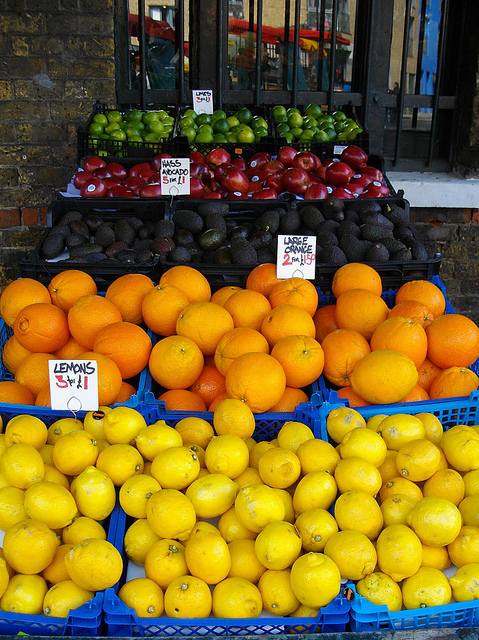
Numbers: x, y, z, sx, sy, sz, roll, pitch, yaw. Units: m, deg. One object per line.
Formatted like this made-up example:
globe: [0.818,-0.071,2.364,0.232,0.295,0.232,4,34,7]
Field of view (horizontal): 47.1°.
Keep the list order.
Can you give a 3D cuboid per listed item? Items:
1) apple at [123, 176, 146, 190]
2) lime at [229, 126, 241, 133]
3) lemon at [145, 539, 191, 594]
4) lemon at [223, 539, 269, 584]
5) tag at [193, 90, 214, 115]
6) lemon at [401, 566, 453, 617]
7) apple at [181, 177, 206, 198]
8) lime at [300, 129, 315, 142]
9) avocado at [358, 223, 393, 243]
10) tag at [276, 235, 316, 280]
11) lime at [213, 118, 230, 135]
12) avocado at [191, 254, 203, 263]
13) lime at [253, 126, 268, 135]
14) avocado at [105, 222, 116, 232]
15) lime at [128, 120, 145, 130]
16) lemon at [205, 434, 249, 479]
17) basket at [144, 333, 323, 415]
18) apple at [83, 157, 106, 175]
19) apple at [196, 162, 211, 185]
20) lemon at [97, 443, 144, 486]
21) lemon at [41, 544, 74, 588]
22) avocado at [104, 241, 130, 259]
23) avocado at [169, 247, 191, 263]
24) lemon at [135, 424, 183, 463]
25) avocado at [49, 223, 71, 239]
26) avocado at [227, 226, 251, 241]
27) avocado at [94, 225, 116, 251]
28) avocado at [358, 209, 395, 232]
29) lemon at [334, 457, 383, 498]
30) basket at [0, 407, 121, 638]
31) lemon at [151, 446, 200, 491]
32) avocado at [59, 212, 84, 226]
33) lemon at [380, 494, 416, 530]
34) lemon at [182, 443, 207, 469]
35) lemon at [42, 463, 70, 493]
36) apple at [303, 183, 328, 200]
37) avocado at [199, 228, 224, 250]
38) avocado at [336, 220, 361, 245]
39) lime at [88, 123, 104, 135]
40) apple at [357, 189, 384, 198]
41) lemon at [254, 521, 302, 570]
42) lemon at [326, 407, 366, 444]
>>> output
apple: [-0.528,-0.693,2.753,0.089,0.045,0.093,28,44,32]
lime: [-0.034,-1.174,3.381,0.063,0.019,0.072,-2,39,10]
lemon: [-0.120,0.398,0.903,0.080,0.083,0.074,-1,-7,-3]
lemon: [0.009,0.406,0.926,0.070,0.063,0.074,1,56,-4]
tag: [-0.243,-1.452,3.652,0.127,0.161,0.185,-1,20,-4]
lemon: [0.300,0.432,0.892,0.067,0.054,0.070,9,8,9]
apple: [-0.220,-0.627,2.620,0.138,0.094,0.107,2,7,-8]
lime: [0.410,-1.105,3.345,0.080,0.084,0.074,-4,-23,12]
avocado: [0.517,-0.334,2.121,0.133,0.057,0.063,0,20,-6]
tag: [0.188,-0.208,1.810,0.170,0.149,0.012,-4,6,-32]
lime: [-0.111,-1.187,3.376,0.101,0.105,0.094,7,11,-14]
avocado: [-0.154,-0.236,2.060,0.042,0.020,0.039,-9,20,-10]
lime: [0.133,-1.171,3.367,0.075,0.065,0.082,3,29,4]
avocado: [-0.538,-0.389,2.296,0.042,0.024,0.046,3,10,-2]
lime: [-0.643,-1.194,3.360,0.071,0.048,0.121,7,20,18]
lemon: [-0.030,0.274,1.103,0.093,0.097,0.090,-10,-17,32]
basket: [-0.022,0.165,1.542,0.471,0.165,0.493,0,19,-3]
apple: [-0.750,-0.806,2.846,0.132,0.096,0.097,-5,42,-10]
apple: [-0.173,-0.757,2.833,0.105,0.109,0.101,-2,7,1]
lemon: [-0.236,0.284,1.091,0.108,0.079,0.081,0,-14,-5]
lemon: [-0.319,0.423,0.948,0.061,0.063,0.055,-6,-29,2]
avocado: [-0.468,-0.270,2.093,0.063,0.056,0.106,-8,7,42]
avocado: [-0.211,-0.234,1.944,0.067,0.058,0.059,-4,9,-6]
lemon: [-0.168,0.243,1.124,0.090,0.067,0.067,8,46,-50]
avocado: [-0.724,-0.356,2.196,0.067,0.042,0.081,2,9,1]
avocado: [-0.007,-0.349,2.204,0.066,0.040,0.077,1,3,-1]
avocado: [-0.525,-0.323,2.148,0.080,0.103,0.066,0,-14,-2]
avocado: [0.550,-0.407,2.209,0.141,0.071,0.069,32,-5,7]
lemon: [0.224,0.294,1.031,0.086,0.064,0.065,31,-2,13]
basket: [-0.300,0.364,0.988,0.259,0.116,0.367,1,37,-7]
lemon: [-0.117,0.292,1.078,0.093,0.096,0.084,0,-2,-14]
avocado: [-0.707,-0.429,2.297,0.097,0.050,0.056,-15,5,-17]
lemon: [0.283,0.344,1.006,0.062,0.062,0.055,-3,2,-7]
lemon: [-0.086,0.287,1.166,0.055,0.057,0.051,2,-15,-5]
lemon: [-0.371,0.317,1.108,0.052,0.046,0.063,-31,-32,27]
apple: [0.368,-0.616,2.632,0.114,0.062,0.130,5,19,12]
avocado: [-0.109,-0.309,2.102,0.069,0.050,0.091,-14,4,9]
avocado: [0.427,-0.344,2.099,0.081,0.051,0.091,-4,43,6]
lime: [-0.829,-1.108,3.176,0.087,0.063,0.062,-4,20,-13]
apple: [0.621,-0.596,2.598,0.089,0.043,0.067,-1,11,5]
lemon: [0.062,0.362,0.878,0.066,0.060,0.082,-6,14,21]
lemon: [0.227,0.229,1.200,0.090,0.063,0.065,-4,-2,-17]
